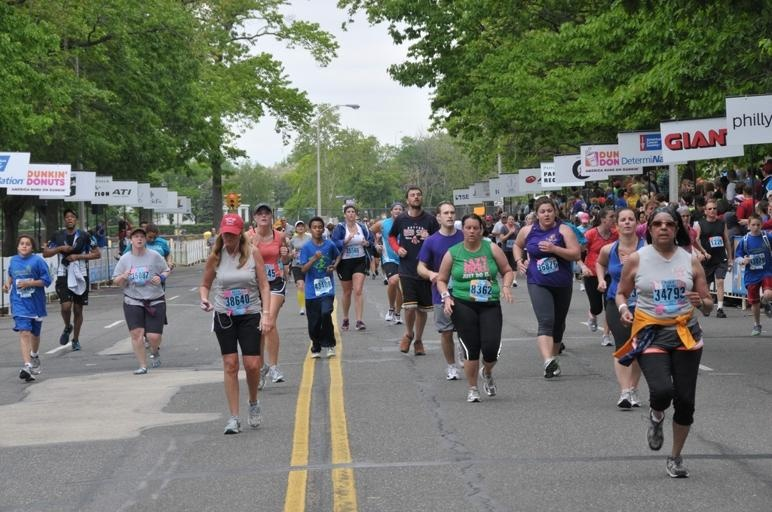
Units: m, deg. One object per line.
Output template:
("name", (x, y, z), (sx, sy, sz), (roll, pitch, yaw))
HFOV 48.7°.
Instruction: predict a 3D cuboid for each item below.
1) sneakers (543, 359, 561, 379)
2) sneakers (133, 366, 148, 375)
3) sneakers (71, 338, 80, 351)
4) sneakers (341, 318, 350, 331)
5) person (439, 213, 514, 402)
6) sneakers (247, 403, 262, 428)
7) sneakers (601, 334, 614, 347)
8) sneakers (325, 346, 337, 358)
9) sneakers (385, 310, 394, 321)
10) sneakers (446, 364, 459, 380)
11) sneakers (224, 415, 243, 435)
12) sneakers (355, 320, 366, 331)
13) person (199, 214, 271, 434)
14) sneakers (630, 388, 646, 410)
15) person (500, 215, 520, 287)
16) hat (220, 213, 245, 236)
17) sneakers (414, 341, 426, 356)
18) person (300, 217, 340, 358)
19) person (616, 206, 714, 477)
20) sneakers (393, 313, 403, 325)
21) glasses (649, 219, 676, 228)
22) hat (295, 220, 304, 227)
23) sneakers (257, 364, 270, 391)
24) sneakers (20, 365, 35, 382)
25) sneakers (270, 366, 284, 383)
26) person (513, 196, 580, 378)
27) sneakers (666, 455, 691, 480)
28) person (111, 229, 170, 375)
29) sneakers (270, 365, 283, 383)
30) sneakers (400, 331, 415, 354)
("sneakers", (2.269, 1.536, 11.671), (0.156, 0.179, 0.394), (0, 3, 11))
("sneakers", (-3.732, 1.758, 13.038), (0.112, 0.085, 0.205), (-4, -14, 15))
("sneakers", (-5.840, 1.677, 16.005), (0.125, 0.147, 0.342), (1, -2, -23))
("sneakers", (-0.823, 1.413, 17.258), (0.164, 0.212, 0.474), (-1, -8, -2))
("person", (1.102, 0.647, 10.540), (0.926, 2.320, 0.566), (-1, 4, 5))
("sneakers", (-1.479, 1.805, 9.593), (0.113, 0.308, 0.140), (-4, 4, -16))
("sneakers", (3.767, 1.458, 14.442), (0.127, 0.145, 0.346), (-1, -8, 6))
("sneakers", (-0.896, 1.572, 13.807), (0.133, 0.150, 0.388), (-1, -7, 0))
("sneakers", (0.090, 1.292, 18.251), (0.176, 0.239, 0.103), (9, -5, 12))
("sneakers", (0.931, 1.634, 11.897), (0.176, 0.153, 0.355), (0, -6, -4))
("sneakers", (-1.704, 1.862, 9.460), (0.186, 0.182, 0.316), (-2, 4, -11))
("sneakers", (-0.527, 1.411, 17.166), (0.202, 0.232, 0.546), (-1, 2, -3))
("person", (-1.659, 0.740, 9.451), (0.755, 2.415, 0.556), (-2, 4, -7))
("sneakers", (3.014, 1.712, 10.219), (0.120, 0.154, 0.360), (-2, -3, 7))
("person", (4.318, -0.185, 29.615), (0.867, 2.506, 0.764), (-1, 1, -9))
("hat", (-1.685, -0.348, 9.391), (0.183, 0.145, 0.285), (3, -1, 1))
("sneakers", (0.545, 1.530, 13.930), (0.161, 0.173, 0.430), (-2, -9, 2))
("person", (-1.040, 0.537, 13.583), (0.616, 2.218, 0.937), (-2, 4, -4))
("person", (2.580, 0.770, 8.010), (0.699, 2.461, 0.775), (-5, 5, -42))
("sneakers", (0.239, 1.354, 18.162), (0.191, 0.230, 0.518), (-1, -3, -4))
("glasses", (2.586, -0.290, 7.918), (0.201, 0.060, 0.088), (0, 4, 17))
("hat", (-1.877, -0.641, 18.395), (0.181, 0.235, 0.239), (0, 10, -6))
("sneakers", (-1.690, 1.679, 11.720), (0.143, 0.409, 0.181), (2, -12, 6))
("sneakers", (-5.414, 1.773, 12.854), (0.164, 0.160, 0.378), (1, 2, -4))
("sneakers", (-1.528, 1.678, 11.934), (0.132, 0.148, 0.310), (-6, -7, -18))
("person", (2.270, 0.442, 11.809), (0.667, 2.503, 0.746), (-3, 4, -16))
("sneakers", (2.666, 1.945, 7.747), (0.116, 0.116, 0.275), (-2, -6, 2))
("person", (-3.845, 0.688, 13.481), (0.847, 2.241, 1.360), (-3, 4, -15))
("sneakers", (-1.518, 1.660, 11.928), (0.200, 0.242, 0.223), (-2, 4, -9))
("sneakers", (0.323, 1.446, 13.991), (0.147, 0.436, 0.193), (13, -4, 9))
